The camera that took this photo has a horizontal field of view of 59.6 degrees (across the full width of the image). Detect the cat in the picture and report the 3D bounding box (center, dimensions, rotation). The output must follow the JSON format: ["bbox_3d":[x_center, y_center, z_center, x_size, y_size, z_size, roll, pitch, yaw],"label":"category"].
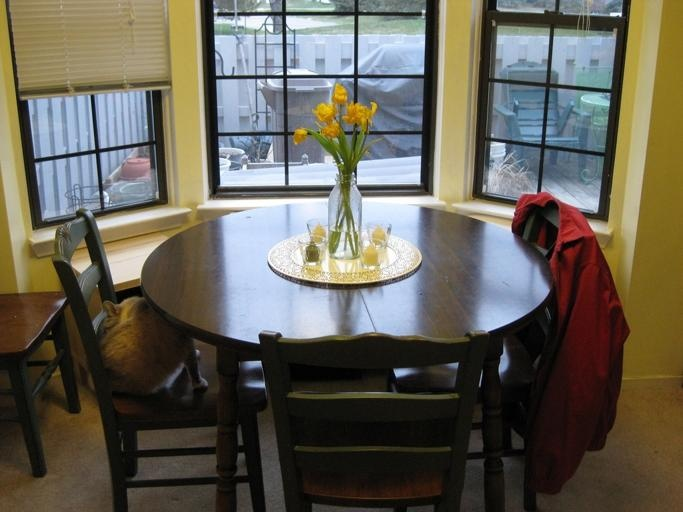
[{"bbox_3d":[-0.676,0.360,2.121,0.229,0.293,0.392,-22,43,-3],"label":"cat"}]

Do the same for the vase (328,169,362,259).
[{"bbox_3d":[0.011,-0.163,2.473,0.168,0.341,0.181,5,14,10],"label":"vase"}]

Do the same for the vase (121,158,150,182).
[{"bbox_3d":[-1.228,-0.521,3.537,0.124,0.077,0.135,3,18,4],"label":"vase"}]

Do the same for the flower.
[{"bbox_3d":[-0.003,-0.312,2.469,0.366,0.641,0.338,0,4,3],"label":"flower"}]

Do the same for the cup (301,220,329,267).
[{"bbox_3d":[-0.118,-0.054,2.462,0.089,0.089,0.195,0,22,0],"label":"cup"}]

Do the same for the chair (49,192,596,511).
[{"bbox_3d":[0.148,0.417,2.498,1.711,1.179,1.080,-2,22,0],"label":"chair"}]

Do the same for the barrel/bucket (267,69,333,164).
[{"bbox_3d":[-0.279,-0.957,3.929,0.434,0.625,0.496,-1,25,-2],"label":"barrel/bucket"}]

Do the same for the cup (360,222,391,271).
[{"bbox_3d":[0.141,-0.039,2.442,0.132,0.134,0.170,1,21,2],"label":"cup"}]
